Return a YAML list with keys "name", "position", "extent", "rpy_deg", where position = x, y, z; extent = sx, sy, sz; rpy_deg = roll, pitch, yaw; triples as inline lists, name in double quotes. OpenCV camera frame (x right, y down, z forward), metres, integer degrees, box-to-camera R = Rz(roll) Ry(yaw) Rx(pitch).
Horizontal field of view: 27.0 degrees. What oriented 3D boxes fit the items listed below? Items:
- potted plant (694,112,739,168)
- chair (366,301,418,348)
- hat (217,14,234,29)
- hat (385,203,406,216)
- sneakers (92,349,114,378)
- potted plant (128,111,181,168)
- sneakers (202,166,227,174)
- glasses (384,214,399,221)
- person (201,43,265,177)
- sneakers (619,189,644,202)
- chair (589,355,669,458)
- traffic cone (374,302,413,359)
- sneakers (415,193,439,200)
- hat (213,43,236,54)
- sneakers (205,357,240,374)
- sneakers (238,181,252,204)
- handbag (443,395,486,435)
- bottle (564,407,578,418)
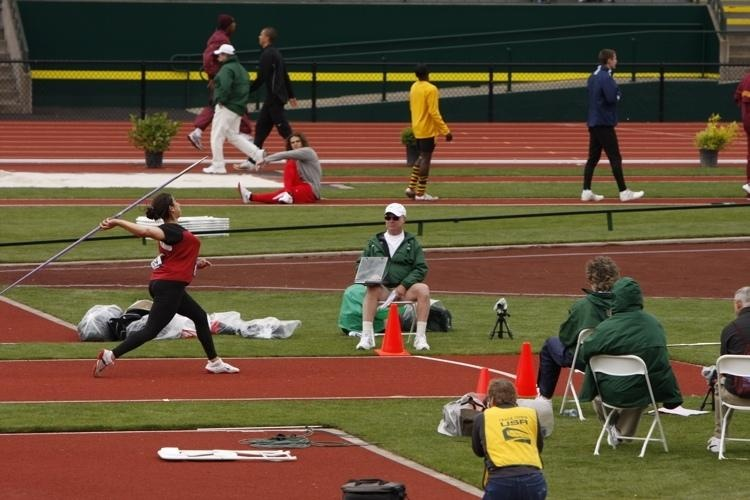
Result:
- name: "potted plant"
  position: [9.063, -2.936, 42.016]
  extent: [0.998, 1.352, 2.596]
  rpy_deg: [1, 5, 11]
- name: "chair"
  position: [0.267, 1.324, 25.950]
  extent: [0.900, 0.835, 0.777]
  rpy_deg: [1, 8, -1]
- name: "hat"
  position: [-3.545, -5.439, 37.535]
  extent: [0.335, 0.442, 0.864]
  rpy_deg: [0, 5, -3]
- name: "hat"
  position: [0.350, -0.664, 26.327]
  extent: [0.294, 0.219, 0.482]
  rpy_deg: [0, 5, 6]
- name: "sneakers"
  position: [-4.246, 1.784, 24.524]
  extent: [0.302, 0.547, 0.201]
  rpy_deg: [21, 33, -20]
- name: "potted plant"
  position: [-5.493, -2.712, 38.972]
  extent: [1.156, 1.384, 1.339]
  rpy_deg: [-1, 6, -8]
- name: "sneakers"
  position: [-3.921, -1.964, 38.228]
  extent: [0.628, 0.187, 0.191]
  rpy_deg: [4, 14, 14]
- name: "glasses"
  position: [0.287, -0.549, 26.150]
  extent: [0.247, 0.115, 0.103]
  rpy_deg: [1, 6, 15]
- name: "person"
  position: [-3.313, -3.486, 37.105]
  extent: [1.130, 2.801, 1.454]
  rpy_deg: [-1, 7, -6]
- name: "sneakers"
  position: [5.703, -1.218, 34.343]
  extent: [0.733, 0.249, 0.204]
  rpy_deg: [-4, 36, 8]
- name: "chair"
  position: [3.650, 2.216, 22.622]
  extent: [1.130, 1.451, 0.749]
  rpy_deg: [0, 7, 6]
- name: "traffic cone"
  position: [0.298, 1.304, 25.749]
  extent: [0.526, 0.835, 0.419]
  rpy_deg: [0, 7, -1]
- name: "sneakers"
  position: [1.136, -1.184, 35.025]
  extent: [0.581, 0.154, 0.162]
  rpy_deg: [0, 3, -5]
- name: "hat"
  position: [-3.540, -4.779, 37.069]
  extent: [0.522, 0.171, 0.287]
  rpy_deg: [4, 9, 5]
- name: "sneakers"
  position: [-2.480, 1.859, 24.789]
  extent: [0.667, 0.194, 0.195]
  rpy_deg: [2, 4, -7]
- name: "sneakers"
  position: [-2.907, -1.305, 34.774]
  extent: [0.268, 0.514, 0.176]
  rpy_deg: [-10, 53, 0]
- name: "handbag"
  position: [1.279, 2.424, 22.766]
  extent: [0.641, 0.223, 0.676]
  rpy_deg: [0, 2, 0]
- name: "bottle"
  position: [2.954, 2.470, 23.633]
  extent: [0.162, 0.121, 0.261]
  rpy_deg: [10, -10, -26]
